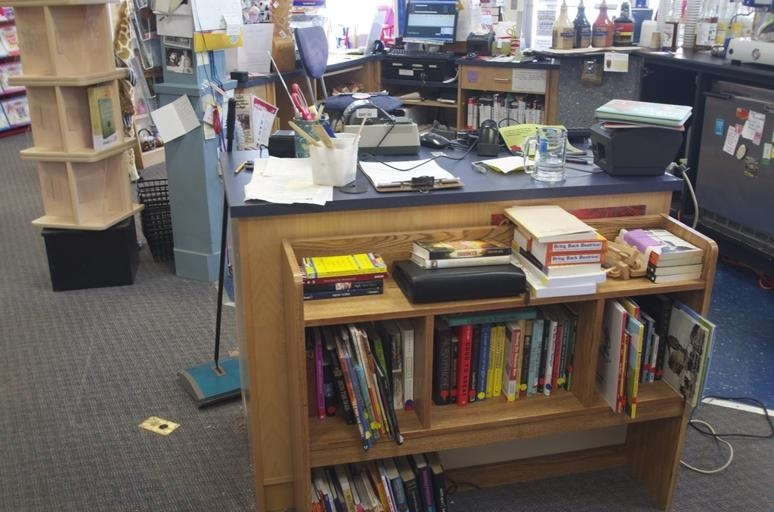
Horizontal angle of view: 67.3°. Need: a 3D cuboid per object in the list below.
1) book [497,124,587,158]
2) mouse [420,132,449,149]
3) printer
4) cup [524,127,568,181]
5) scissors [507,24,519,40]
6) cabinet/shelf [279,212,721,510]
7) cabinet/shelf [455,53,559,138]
[{"bbox_3d":[0.733,-0.541,2.767,0.212,0.089,0.281,1,20,-6],"label":"book"},{"bbox_3d":[0.244,-0.587,2.954,0.081,0.043,0.131,-10,36,-29],"label":"mouse"},{"bbox_3d":[1.132,-0.492,2.650,0.305,0.179,0.286,-2,24,-10],"label":"printer"},{"bbox_3d":[0.705,-0.456,2.585,0.192,0.207,0.235,5,25,12],"label":"cup"},{"bbox_3d":[1.229,-2.189,5.704,0.148,0.183,0.130,-3,21,1],"label":"scissors"},{"bbox_3d":[0.427,0.419,2.454,1.315,0.995,0.364,-5,31,-9],"label":"cabinet/shelf"},{"bbox_3d":[1.215,-1.525,5.578,1.130,0.685,0.365,20,32,37],"label":"cabinet/shelf"}]
